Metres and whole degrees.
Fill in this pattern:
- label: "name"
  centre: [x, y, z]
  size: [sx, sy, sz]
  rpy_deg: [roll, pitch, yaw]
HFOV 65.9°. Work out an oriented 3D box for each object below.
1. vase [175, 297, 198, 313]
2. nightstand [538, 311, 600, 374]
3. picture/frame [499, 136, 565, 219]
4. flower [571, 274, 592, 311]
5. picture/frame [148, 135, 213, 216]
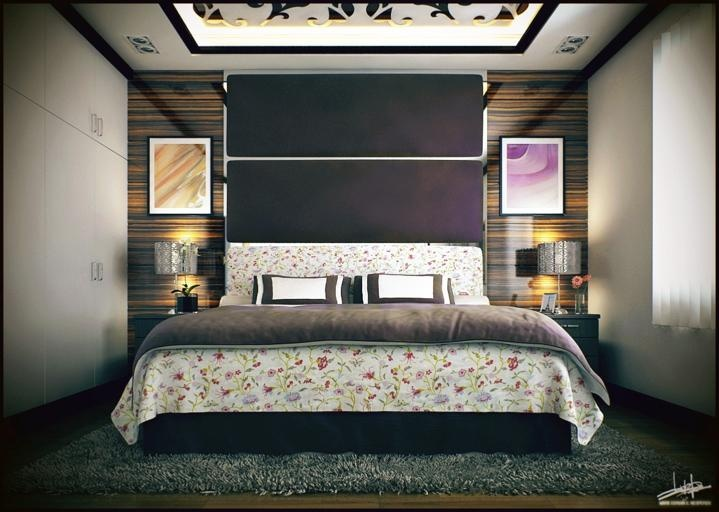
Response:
- label: "vase"
  centre: [-1.748, 0.489, 5.634]
  size: [0.191, 0.167, 0.173]
  rpy_deg: [4, -9, -5]
- label: "nightstand"
  centre: [2.038, 0.893, 5.634]
  size: [0.656, 0.471, 0.832]
  rpy_deg: [10, 8, 21]
- label: "picture/frame"
  centre: [1.835, -0.815, 5.932]
  size: [0.991, 1.071, 0.048]
  rpy_deg: [0, -4, -1]
- label: "flower"
  centre: [2.304, 0.387, 5.850]
  size: [0.247, 0.388, 0.223]
  rpy_deg: [-2, 4, -17]
- label: "picture/frame"
  centre: [-1.951, -0.859, 5.948]
  size: [0.971, 1.052, 0.046]
  rpy_deg: [0, -4, -3]
